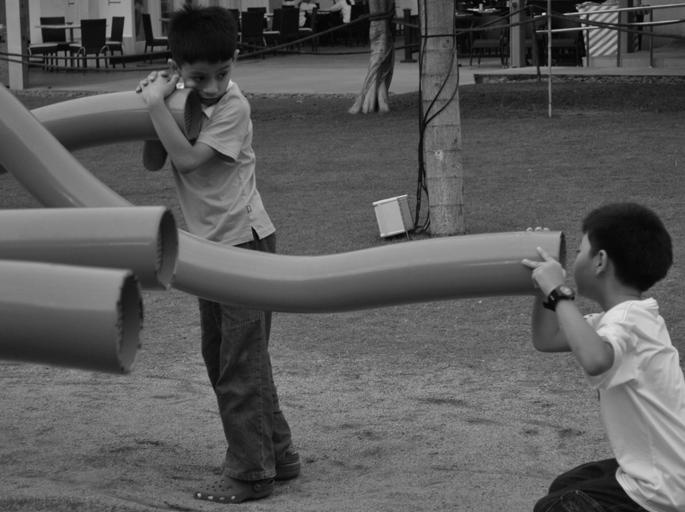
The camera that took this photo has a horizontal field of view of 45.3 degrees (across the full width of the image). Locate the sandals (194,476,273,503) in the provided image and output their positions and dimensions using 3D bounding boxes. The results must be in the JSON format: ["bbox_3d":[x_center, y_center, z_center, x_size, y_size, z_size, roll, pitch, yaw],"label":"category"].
[{"bbox_3d":[-0.437,0.895,3.220,0.246,0.118,0.124,3,-1,-2],"label":"sandals"}]

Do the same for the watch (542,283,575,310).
[{"bbox_3d":[0.598,0.114,2.287,0.056,0.038,0.052,-20,-14,-29],"label":"watch"}]

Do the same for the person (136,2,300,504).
[{"bbox_3d":[-0.449,0.036,3.147,0.617,1.912,0.441,-6,14,-24],"label":"person"}]
